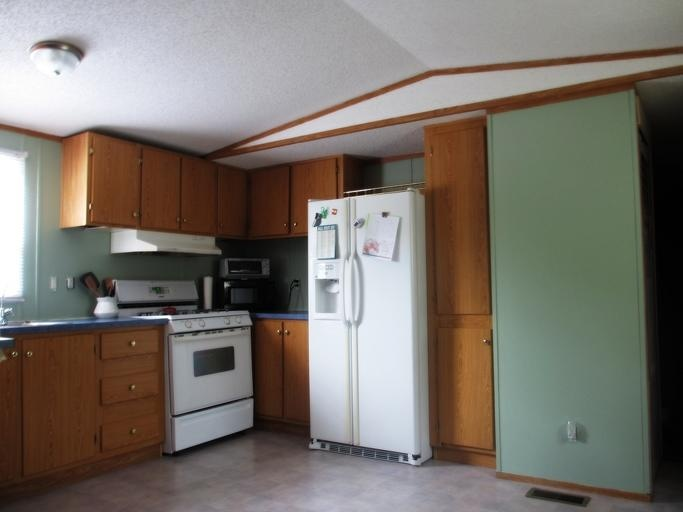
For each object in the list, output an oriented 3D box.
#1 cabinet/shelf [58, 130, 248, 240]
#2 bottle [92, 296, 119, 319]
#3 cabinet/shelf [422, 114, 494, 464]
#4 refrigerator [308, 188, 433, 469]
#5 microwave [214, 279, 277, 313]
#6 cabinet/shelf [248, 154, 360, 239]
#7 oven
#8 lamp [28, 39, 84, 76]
[{"bbox_3d":[-1.652,-0.598,4.870,1.602,0.988,0.390,-9,12,-43],"label":"cabinet/shelf"},{"bbox_3d":[-1.942,0.407,4.410,0.172,0.161,0.173,0,1,32],"label":"bottle"},{"bbox_3d":[0.903,0.252,4.155,0.443,2.596,0.682,-1,8,3],"label":"cabinet/shelf"},{"bbox_3d":[0.160,0.532,4.306,0.994,2.085,0.543,1,9,17],"label":"refrigerator"},{"bbox_3d":[-0.941,0.458,5.461,0.602,0.370,0.375,-2,-25,0],"label":"microwave"},{"bbox_3d":[-0.388,-0.556,5.503,1.190,0.741,0.416,-2,-3,35],"label":"cabinet/shelf"},{"bbox_3d":[-1.309,1.094,4.747,0.703,1.054,0.912,-8,-7,33],"label":"oven"},{"bbox_3d":[-1.770,-1.236,3.351,0.221,0.093,0.223,-6,-23,-15],"label":"lamp"}]
